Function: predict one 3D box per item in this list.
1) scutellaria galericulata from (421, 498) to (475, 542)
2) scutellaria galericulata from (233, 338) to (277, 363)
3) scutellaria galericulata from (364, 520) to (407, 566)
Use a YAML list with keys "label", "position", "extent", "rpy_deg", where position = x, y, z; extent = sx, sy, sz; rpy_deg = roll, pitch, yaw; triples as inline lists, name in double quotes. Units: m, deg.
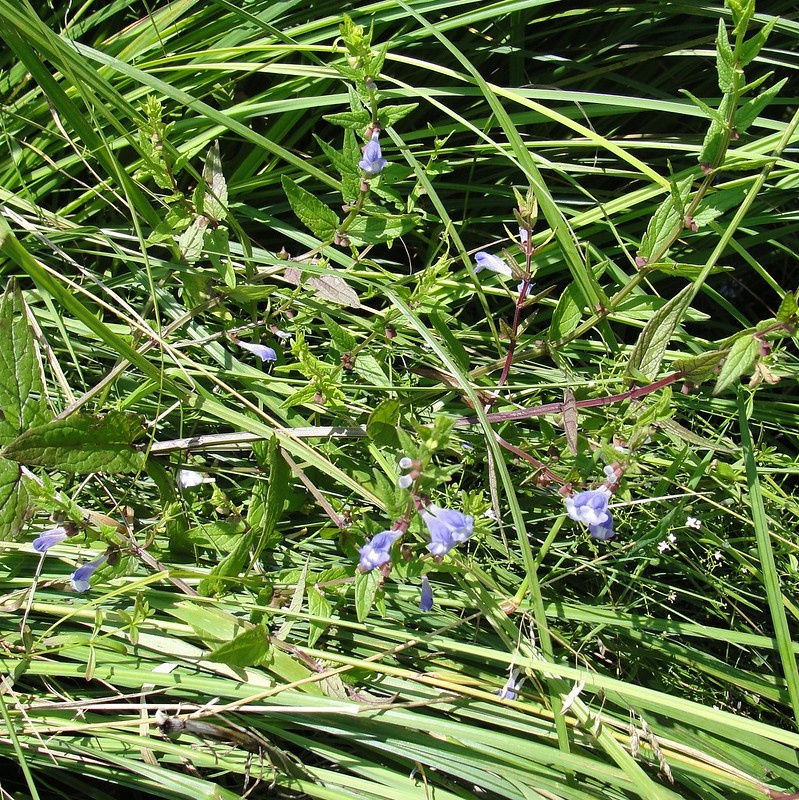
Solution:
- label: "scutellaria galericulata"
  position: [0.065, 0.148, 1.042]
  extent: [0.039, 0.026, 0.067]
  rpy_deg: [-31, 48, -33]
- label: "scutellaria galericulata"
  position: [-0.252, -0.085, 1.373]
  extent: [0.117, 0.032, 0.026]
  rpy_deg: [14, -27, 50]
- label: "scutellaria galericulata"
  position: [-0.025, 0.181, 1.039]
  extent: [0.043, 0.074, 0.032]
  rpy_deg: [12, 29, 5]
